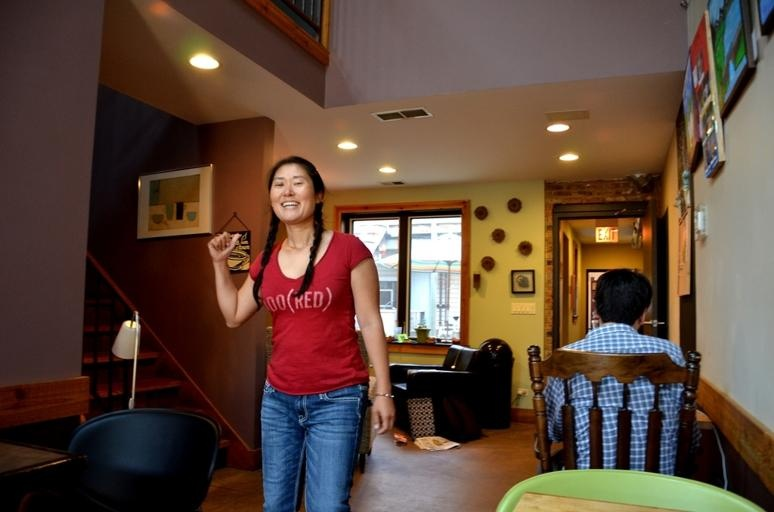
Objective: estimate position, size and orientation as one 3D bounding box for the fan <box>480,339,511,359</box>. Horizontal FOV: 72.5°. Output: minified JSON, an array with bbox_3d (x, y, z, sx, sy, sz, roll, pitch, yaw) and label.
[{"bbox_3d":[1.337,1.126,6.393,0.541,0.225,0.280,2,-4,-19],"label":"fan"}]

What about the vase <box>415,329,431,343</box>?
[{"bbox_3d":[0.475,1.057,6.941,0.175,0.166,0.174,1,-14,0],"label":"vase"}]

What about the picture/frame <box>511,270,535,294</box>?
[{"bbox_3d":[1.712,0.326,6.577,0.289,0.320,0.032,-1,-7,8],"label":"picture/frame"}]

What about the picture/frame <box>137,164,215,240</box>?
[{"bbox_3d":[-1.910,-0.476,4.840,0.781,0.563,0.081,1,-3,24],"label":"picture/frame"}]

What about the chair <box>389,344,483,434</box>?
[{"bbox_3d":[0.561,1.561,6.075,0.884,1.024,1.108,2,-11,-8],"label":"chair"}]

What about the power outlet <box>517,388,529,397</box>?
[{"bbox_3d":[1.674,1.679,6.484,0.096,0.090,0.024,4,-7,16],"label":"power outlet"}]

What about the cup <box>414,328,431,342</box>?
[{"bbox_3d":[0.451,1.052,6.942,0.181,0.173,0.182,1,-14,0],"label":"cup"}]
